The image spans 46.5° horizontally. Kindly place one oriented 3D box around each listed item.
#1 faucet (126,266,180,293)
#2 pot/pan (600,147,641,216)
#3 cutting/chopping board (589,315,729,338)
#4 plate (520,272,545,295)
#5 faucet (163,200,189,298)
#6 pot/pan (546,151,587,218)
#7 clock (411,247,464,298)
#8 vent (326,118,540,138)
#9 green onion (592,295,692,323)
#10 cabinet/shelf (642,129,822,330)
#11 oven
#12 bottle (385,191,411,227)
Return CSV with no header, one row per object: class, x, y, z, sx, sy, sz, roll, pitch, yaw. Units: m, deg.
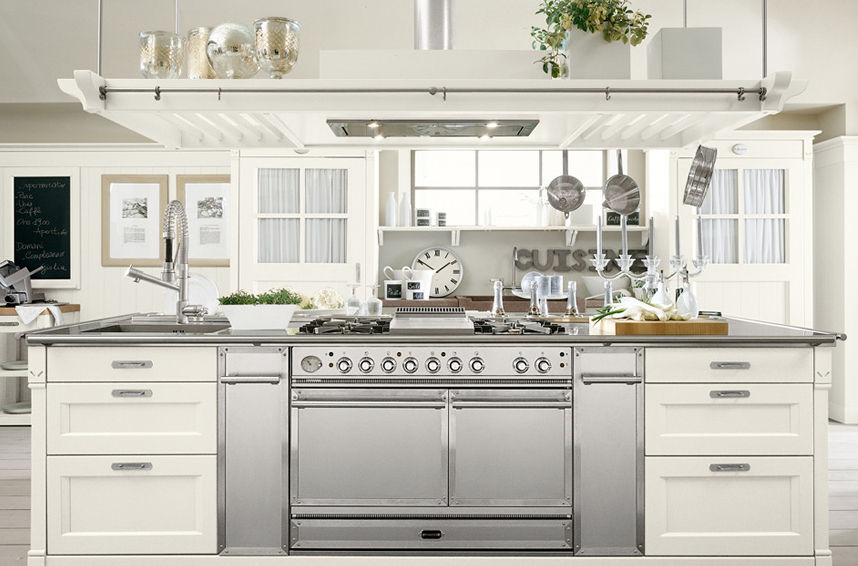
faucet,-2.148,-0.036,7.824,0.361,0.103,0.108,22,18,-37
pot/pan,1.400,-0.656,7.381,0.268,0.374,0.423,-1,-1,24
cutting/chopping board,1.475,0.278,6.446,0.872,0.107,0.346,-1,-1,8
plate,0.769,-0.006,7.311,0.167,0.127,0.327,-1,-1,6
faucet,-1.748,-0.249,6.991,0.194,0.666,0.199,1,5,-14
pot/pan,1.065,-0.700,7.715,0.296,0.675,0.104,4,12,11
clock,0.082,-0.118,9.282,0.483,0.355,0.118,-1,0,1
vent,0.026,-1.061,6.808,1.398,0.079,0.338,-1,-1,0
green onion,1.378,0.155,6.733,0.617,0.163,0.420,1,2,-1
cabinet/shelf,2.697,-0.469,8.753,1.338,1.578,0.365,-1,0,3
oven,0.017,1.205,7.095,1.663,1.526,1.271,0,-1,-3
bottle,-0.279,-0.694,9.211,0.237,0.267,0.381,-1,-1,0
